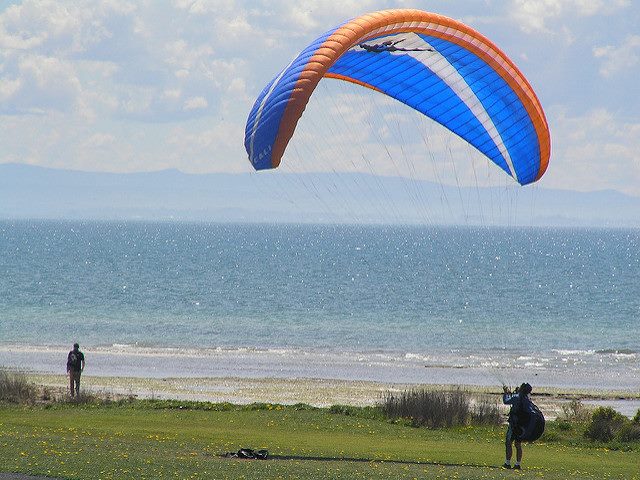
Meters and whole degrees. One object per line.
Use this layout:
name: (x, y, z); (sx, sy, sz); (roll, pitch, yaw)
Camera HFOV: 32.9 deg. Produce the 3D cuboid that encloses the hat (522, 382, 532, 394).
hat: (10.975, 7.871, 57.239); (0.579, 0.593, 0.475); (-1, 14, 39)
